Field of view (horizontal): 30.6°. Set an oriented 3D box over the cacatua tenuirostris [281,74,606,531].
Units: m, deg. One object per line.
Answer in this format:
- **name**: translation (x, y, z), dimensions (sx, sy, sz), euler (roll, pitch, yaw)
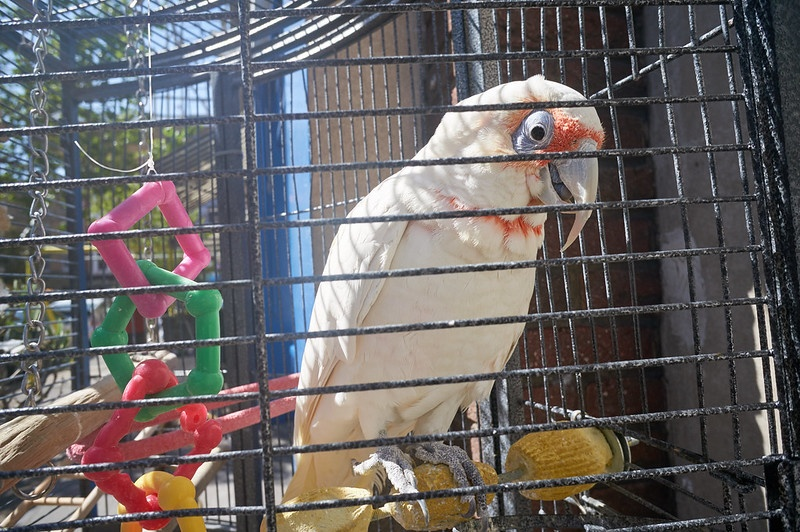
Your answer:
- **cacatua tenuirostris**: translation (0.165, 0.116, 5.872), dimensions (1.317, 1.708, 0.557), euler (-2, -5, 0)
